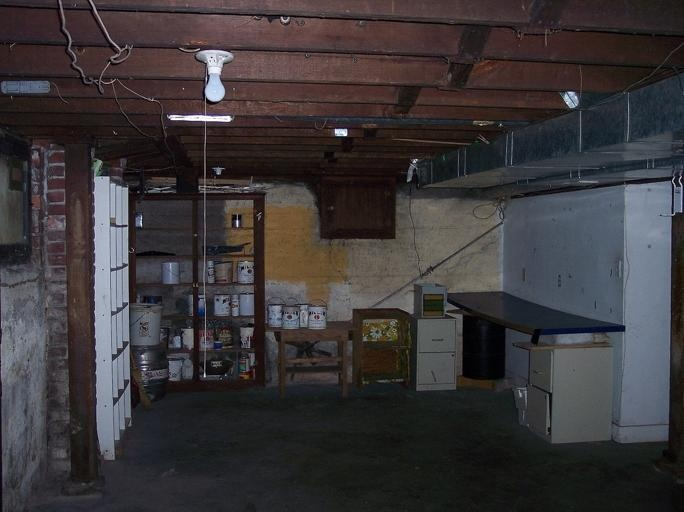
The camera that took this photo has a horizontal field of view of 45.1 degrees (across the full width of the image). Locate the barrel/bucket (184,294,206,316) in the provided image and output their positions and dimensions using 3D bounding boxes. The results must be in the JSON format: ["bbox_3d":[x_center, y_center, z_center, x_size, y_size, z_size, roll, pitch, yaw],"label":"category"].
[{"bbox_3d":[-1.707,0.569,9.589,0.180,0.247,0.242,-3,12,-18],"label":"barrel/bucket"}]

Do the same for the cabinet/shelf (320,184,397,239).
[{"bbox_3d":[0.186,-0.530,9.712,0.796,0.660,0.188,1,2,-2],"label":"cabinet/shelf"}]

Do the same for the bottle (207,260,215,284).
[{"bbox_3d":[-1.528,0.186,9.570,0.092,0.254,0.102,-1,12,-5],"label":"bottle"}]

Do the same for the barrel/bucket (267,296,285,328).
[{"bbox_3d":[-0.775,0.697,9.749,0.268,0.271,0.258,1,-1,0],"label":"barrel/bucket"}]

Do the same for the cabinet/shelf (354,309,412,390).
[{"bbox_3d":[0.418,1.120,9.748,0.672,0.832,0.641,2,-6,-21],"label":"cabinet/shelf"}]

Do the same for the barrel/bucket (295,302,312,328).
[{"bbox_3d":[-0.435,0.699,9.540,0.228,0.387,0.217,-1,3,0],"label":"barrel/bucket"}]

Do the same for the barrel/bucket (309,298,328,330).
[{"bbox_3d":[-0.272,0.715,9.463,0.255,0.256,0.247,0,0,0],"label":"barrel/bucket"}]

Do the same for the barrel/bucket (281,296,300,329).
[{"bbox_3d":[-0.598,0.696,9.604,0.258,0.379,0.278,-1,1,0],"label":"barrel/bucket"}]

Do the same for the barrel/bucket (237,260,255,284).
[{"bbox_3d":[-1.099,0.185,9.547,0.250,0.260,0.241,0,-4,0],"label":"barrel/bucket"}]

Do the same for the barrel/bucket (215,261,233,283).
[{"bbox_3d":[-1.374,0.175,9.724,0.221,0.272,0.289,-3,2,4],"label":"barrel/bucket"}]

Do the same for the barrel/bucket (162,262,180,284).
[{"bbox_3d":[-1.963,0.193,9.434,0.197,0.244,0.233,-2,12,-13],"label":"barrel/bucket"}]

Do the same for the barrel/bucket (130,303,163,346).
[{"bbox_3d":[-2.117,0.775,8.876,0.416,0.458,0.406,2,-2,0],"label":"barrel/bucket"}]

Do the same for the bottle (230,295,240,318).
[{"bbox_3d":[-1.247,0.574,9.619,0.110,0.215,0.129,-1,12,-7],"label":"bottle"}]

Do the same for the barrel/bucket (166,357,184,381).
[{"bbox_3d":[-1.901,1.300,9.388,0.218,0.288,0.262,-1,2,7],"label":"barrel/bucket"}]

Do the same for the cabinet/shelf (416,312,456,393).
[{"bbox_3d":[1.083,1.128,9.650,0.527,0.795,0.525,1,3,7],"label":"cabinet/shelf"}]

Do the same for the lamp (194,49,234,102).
[{"bbox_3d":[-0.819,-1.152,5.299,0.215,0.316,0.205,4,12,16],"label":"lamp"}]

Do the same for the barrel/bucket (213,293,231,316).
[{"bbox_3d":[-1.381,0.583,9.518,0.233,0.231,0.224,2,-2,0],"label":"barrel/bucket"}]

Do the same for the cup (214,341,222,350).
[{"bbox_3d":[-1.446,1.043,9.568,0.088,0.081,0.085,0,-4,0],"label":"cup"}]

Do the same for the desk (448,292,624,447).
[{"bbox_3d":[2.064,0.954,8.943,0.966,1.100,2.321,-7,16,-9],"label":"desk"}]
